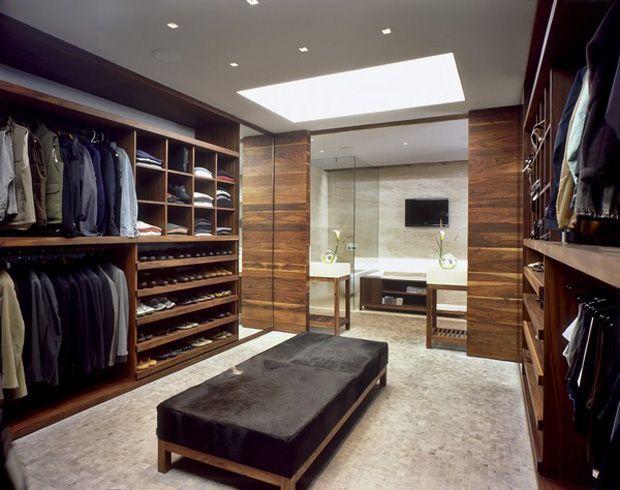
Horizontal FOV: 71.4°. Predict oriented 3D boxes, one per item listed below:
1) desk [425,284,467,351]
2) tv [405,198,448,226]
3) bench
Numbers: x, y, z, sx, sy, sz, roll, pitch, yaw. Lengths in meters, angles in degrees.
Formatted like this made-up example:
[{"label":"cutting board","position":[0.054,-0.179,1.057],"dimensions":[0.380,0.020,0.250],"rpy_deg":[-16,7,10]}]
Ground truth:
[{"label":"desk","position":[1.790,0.959,5.655],"dimensions":[0.696,0.606,0.366],"rpy_deg":[-1,-4,25]},{"label":"tv","position":[2.200,-0.611,7.988],"dimensions":[0.558,0.413,0.059],"rpy_deg":[1,0,30]},{"label":"bench","position":[-0.202,1.140,3.140],"dimensions":[0.978,0.455,1.538],"rpy_deg":[5,9,27]}]
